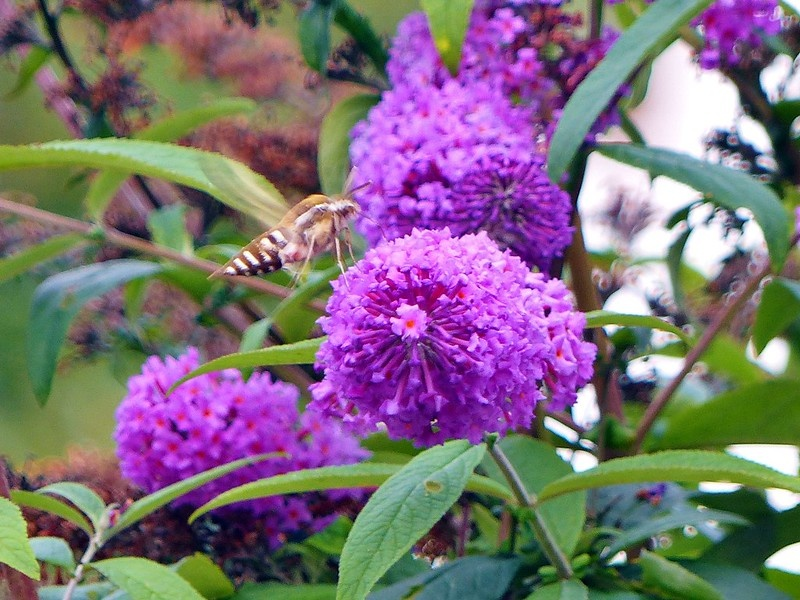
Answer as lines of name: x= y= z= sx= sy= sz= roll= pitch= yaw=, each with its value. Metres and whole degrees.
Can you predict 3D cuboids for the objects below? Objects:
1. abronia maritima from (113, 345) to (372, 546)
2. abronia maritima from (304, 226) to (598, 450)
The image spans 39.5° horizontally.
abronia maritima: x=-0.346 y=0.301 z=2.494 sx=0.482 sy=0.278 sz=0.422 roll=9 pitch=2 yaw=-36
abronia maritima: x=0.083 y=0.093 z=2.147 sx=0.450 sy=0.348 sz=0.399 roll=-7 pitch=31 yaw=-16
